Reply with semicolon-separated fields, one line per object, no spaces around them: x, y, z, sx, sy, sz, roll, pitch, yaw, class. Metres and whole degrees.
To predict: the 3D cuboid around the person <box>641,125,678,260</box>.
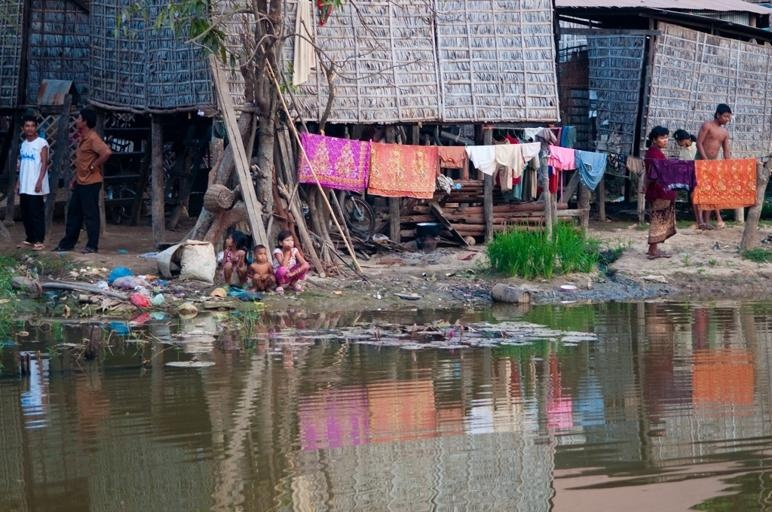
4.424;-1.055;19.373;0.458;2.175;0.762;0;1;14;person

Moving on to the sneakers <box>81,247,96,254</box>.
-4.582;-0.098;18.514;0.215;0.094;0.157;0;1;-15;sneakers

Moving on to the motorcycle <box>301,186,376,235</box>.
-0.802;-0.663;20.644;1.162;0.769;0.618;-16;7;-5;motorcycle

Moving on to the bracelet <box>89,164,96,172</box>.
-4.515;-1.367;18.429;0.100;0.086;0.056;-36;-17;33;bracelet

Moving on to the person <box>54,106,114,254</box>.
-4.631;-1.191;18.547;0.860;2.257;0.498;0;1;21;person

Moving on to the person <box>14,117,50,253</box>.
-5.522;-1.155;18.750;0.425;2.083;0.510;0;1;-18;person

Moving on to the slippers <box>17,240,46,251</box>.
-5.574;-0.154;18.693;0.454;0.192;0.171;1;32;8;slippers

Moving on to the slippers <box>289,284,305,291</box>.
-1.294;0.460;17.344;0.233;0.089;0.103;-4;-16;-9;slippers

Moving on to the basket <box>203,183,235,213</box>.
-2.501;-0.890;17.818;0.428;0.420;0.416;6;20;41;basket

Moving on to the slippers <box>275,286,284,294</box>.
-1.528;0.479;17.139;0.082;0.101;0.235;0;-5;-8;slippers

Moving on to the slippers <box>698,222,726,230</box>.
5.930;-0.535;21.622;0.505;0.144;0.179;2;-2;-40;slippers

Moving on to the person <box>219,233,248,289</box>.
-2.172;0.032;17.261;0.348;0.793;0.334;0;1;-8;person

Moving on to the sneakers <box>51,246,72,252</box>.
-5.030;-0.110;18.588;0.287;0.120;0.105;7;1;-7;sneakers

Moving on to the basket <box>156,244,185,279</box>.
-3.163;0.061;17.472;0.156;0.497;0.387;11;-6;2;basket
